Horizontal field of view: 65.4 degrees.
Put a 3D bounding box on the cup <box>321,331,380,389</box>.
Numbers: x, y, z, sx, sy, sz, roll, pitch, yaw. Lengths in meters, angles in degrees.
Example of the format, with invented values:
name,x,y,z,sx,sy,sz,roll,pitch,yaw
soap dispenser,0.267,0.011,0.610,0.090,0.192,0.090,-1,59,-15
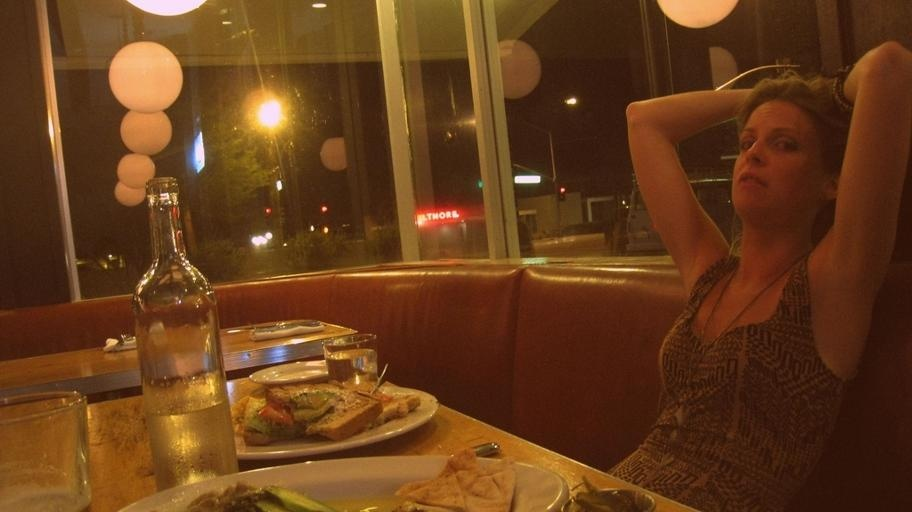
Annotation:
name,x,y,z,sx,sy,sz,roll,pitch,yaw
cup,-0.350,0.340,2.360,0.158,0.162,0.174,-6,-8,-8

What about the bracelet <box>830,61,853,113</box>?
name,x,y,z,sx,sy,sz,roll,pitch,yaw
bracelet,1.258,-0.520,2.308,0.052,0.131,0.102,-10,1,14

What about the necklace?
name,x,y,z,sx,sy,sz,roll,pitch,yaw
necklace,0.957,0.222,2.295,0.198,0.326,0.375,17,-21,-36

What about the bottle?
name,x,y,z,sx,sy,sz,roll,pitch,yaw
bottle,-0.728,0.201,1.851,0.210,0.782,0.143,-9,7,-23
